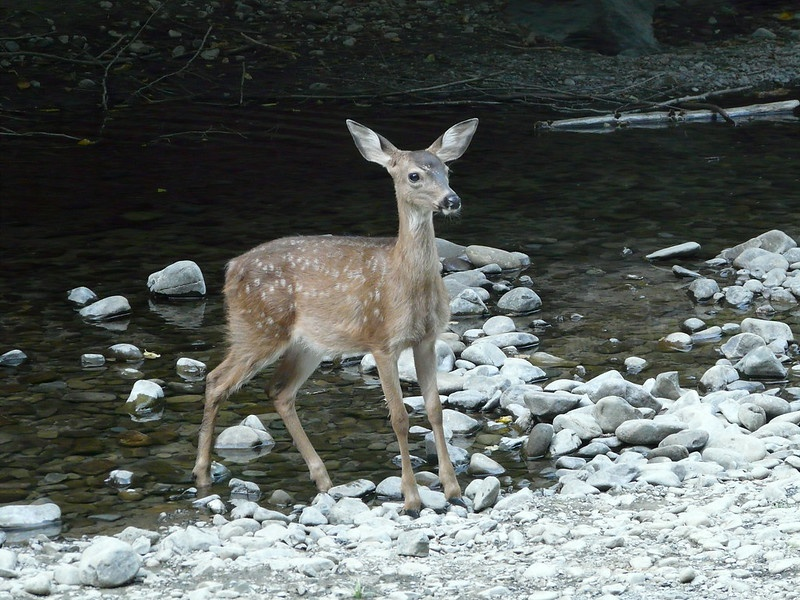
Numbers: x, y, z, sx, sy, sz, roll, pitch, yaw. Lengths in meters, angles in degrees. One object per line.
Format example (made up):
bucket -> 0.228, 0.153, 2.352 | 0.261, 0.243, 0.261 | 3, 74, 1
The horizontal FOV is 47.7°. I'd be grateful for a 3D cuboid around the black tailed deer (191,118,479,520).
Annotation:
black tailed deer -> -0.447, 0.049, 6.435 | 1.923, 2.697, 1.227 | -4, 13, 8
